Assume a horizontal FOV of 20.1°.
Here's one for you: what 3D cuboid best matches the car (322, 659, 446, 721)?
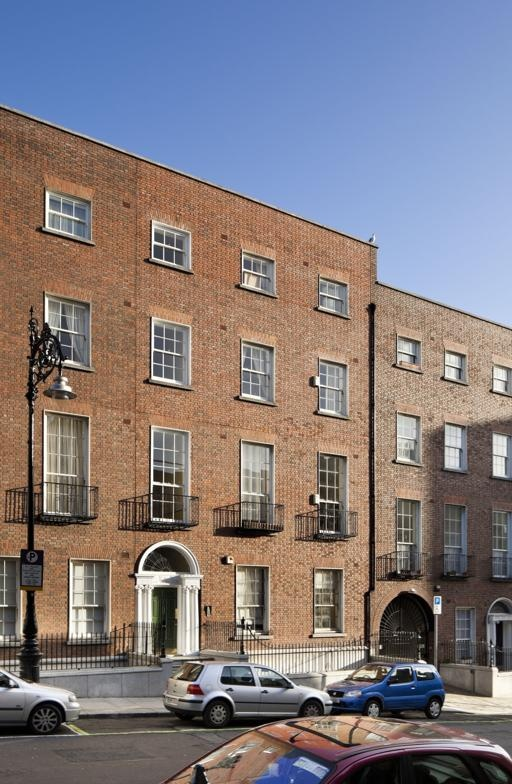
[{"bbox_3d":[2.969,6.821,33.156,2.403,1.229,1.525,14,-25,-26],"label":"car"}]
